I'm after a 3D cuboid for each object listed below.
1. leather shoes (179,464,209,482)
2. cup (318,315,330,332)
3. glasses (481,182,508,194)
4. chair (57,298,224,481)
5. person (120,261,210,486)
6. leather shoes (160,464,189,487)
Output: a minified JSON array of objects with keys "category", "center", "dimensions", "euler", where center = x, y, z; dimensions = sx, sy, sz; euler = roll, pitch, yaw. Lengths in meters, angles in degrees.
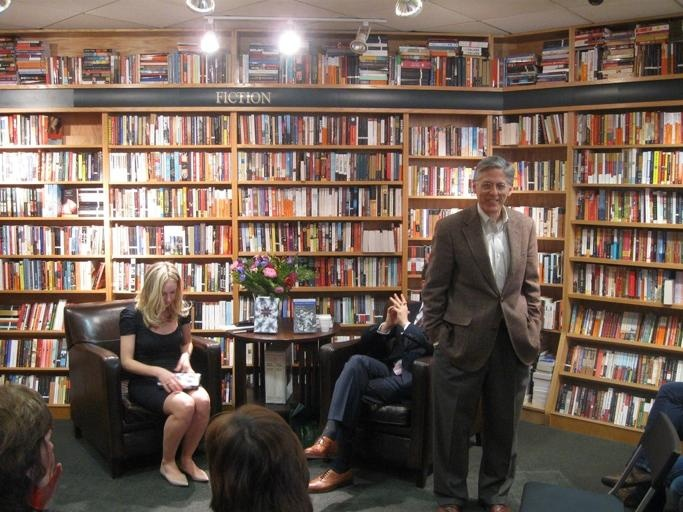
[{"category":"leather shoes","center":[-0.984,1.434,4.095],"dimensions":[0.237,0.095,0.081],"euler":[-1,2,39]},{"category":"cup","center":[-0.130,0.513,4.648],"dimensions":[0.124,0.135,0.106],"euler":[0,0,-5]},{"category":"glasses","center":[0.891,-0.397,3.548],"dimensions":[0.081,0.042,0.109],"euler":[2,-5,8]},{"category":"chair","center":[-1.563,0.933,4.616],"dimensions":[1.122,1.016,0.904],"euler":[3,5,43]},{"category":"person","center":[-1.219,0.769,4.158],"dimensions":[0.557,1.435,0.587],"euler":[-2,5,-21]},{"category":"leather shoes","center":[-1.114,1.440,4.078],"dimensions":[0.087,0.107,0.251],"euler":[-2,5,-44]}]
